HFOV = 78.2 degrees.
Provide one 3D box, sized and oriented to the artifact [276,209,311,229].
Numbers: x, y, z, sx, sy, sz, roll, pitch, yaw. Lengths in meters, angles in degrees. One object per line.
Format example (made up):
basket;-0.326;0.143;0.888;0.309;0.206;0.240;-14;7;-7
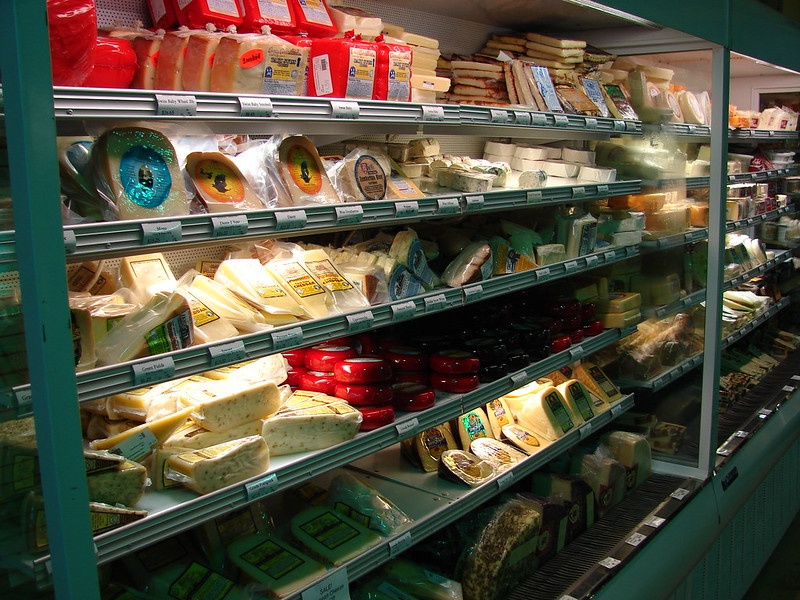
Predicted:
artifact;-0.302;-0.227;1.375;0.022;0.054;0.096;5;16;35

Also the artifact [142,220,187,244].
artifact;-0.555;-0.161;1.152;0.021;0.051;0.090;7;17;39

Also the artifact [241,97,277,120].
artifact;-0.372;-0.504;1.277;0.021;0.055;0.096;8;17;41

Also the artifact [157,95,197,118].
artifact;-0.516;-0.455;1.143;0.018;0.052;0.096;7;17;41

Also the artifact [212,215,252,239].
artifact;-0.431;-0.193;1.262;0.025;0.052;0.097;7;17;40
